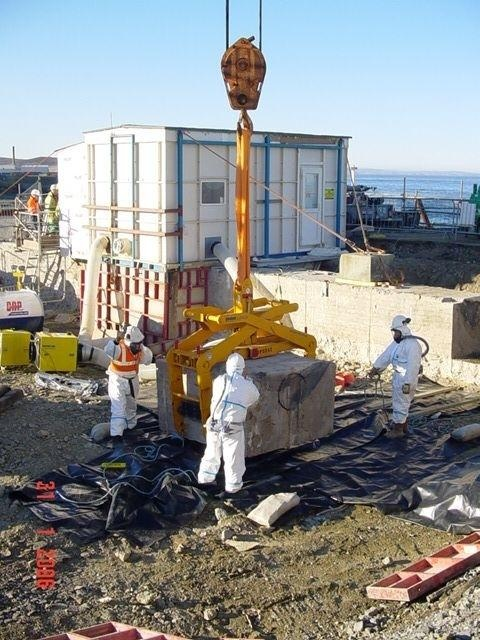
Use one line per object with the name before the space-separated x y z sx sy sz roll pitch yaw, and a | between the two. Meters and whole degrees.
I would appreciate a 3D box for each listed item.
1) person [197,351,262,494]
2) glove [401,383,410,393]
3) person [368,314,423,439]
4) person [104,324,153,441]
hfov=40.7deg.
person | -0.163 1.152 7.338 0.558 1.556 0.526 7 13 26
glove | 2.233 0.917 8.684 0.087 0.104 0.110 0 -14 3
person | 2.189 0.744 9.014 0.637 1.615 0.650 9 14 35
person | -1.601 0.814 8.980 0.489 1.526 0.739 11 15 40
